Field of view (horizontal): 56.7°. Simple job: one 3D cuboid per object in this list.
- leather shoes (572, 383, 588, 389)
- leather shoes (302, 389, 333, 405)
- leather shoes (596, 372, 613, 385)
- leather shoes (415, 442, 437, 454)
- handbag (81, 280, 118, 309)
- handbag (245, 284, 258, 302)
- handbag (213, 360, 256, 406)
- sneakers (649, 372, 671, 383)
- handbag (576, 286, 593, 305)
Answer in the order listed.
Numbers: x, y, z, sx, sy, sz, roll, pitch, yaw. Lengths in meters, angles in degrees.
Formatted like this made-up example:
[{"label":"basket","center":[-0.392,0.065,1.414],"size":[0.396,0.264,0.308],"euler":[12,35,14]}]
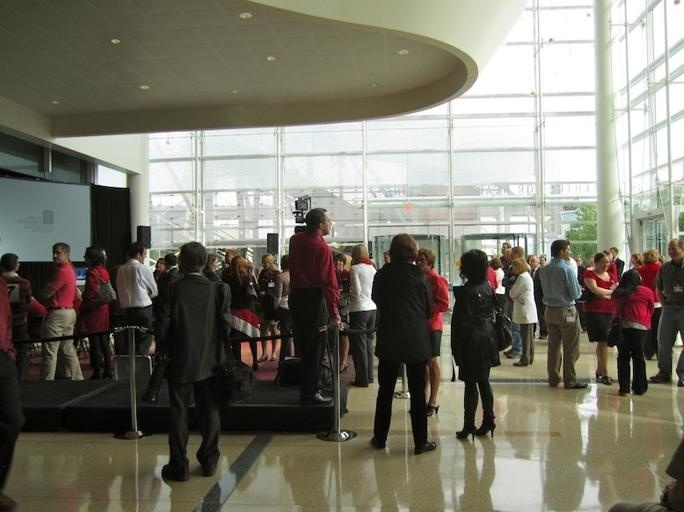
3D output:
[{"label":"leather shoes","center":[3.190,1.739,8.525],"size":[0.217,0.092,0.081],"euler":[-2,-1,-2]},{"label":"leather shoes","center":[-0.241,1.593,7.121],"size":[0.387,0.174,0.135],"euler":[0,-2,-9]},{"label":"leather shoes","center":[3.634,1.712,8.782],"size":[0.104,0.076,0.266],"euler":[-2,-1,-7]},{"label":"leather shoes","center":[0.861,1.963,6.526],"size":[0.251,0.107,0.091],"euler":[-5,3,-32]},{"label":"handbag","center":[-3.409,0.585,8.969],"size":[0.360,0.385,0.376],"euler":[6,-13,-34]},{"label":"handbag","center":[-1.269,0.523,9.121],"size":[0.182,0.351,0.253],"euler":[-4,-2,-7]},{"label":"handbag","center":[-1.030,1.218,6.095],"size":[0.368,0.408,0.226],"euler":[-2,11,-15]},{"label":"sneakers","center":[4.480,1.695,8.815],"size":[0.351,0.156,0.124],"euler":[1,-5,9]},{"label":"handbag","center":[3.379,0.568,8.884],"size":[0.259,0.248,0.258],"euler":[2,5,12]}]
